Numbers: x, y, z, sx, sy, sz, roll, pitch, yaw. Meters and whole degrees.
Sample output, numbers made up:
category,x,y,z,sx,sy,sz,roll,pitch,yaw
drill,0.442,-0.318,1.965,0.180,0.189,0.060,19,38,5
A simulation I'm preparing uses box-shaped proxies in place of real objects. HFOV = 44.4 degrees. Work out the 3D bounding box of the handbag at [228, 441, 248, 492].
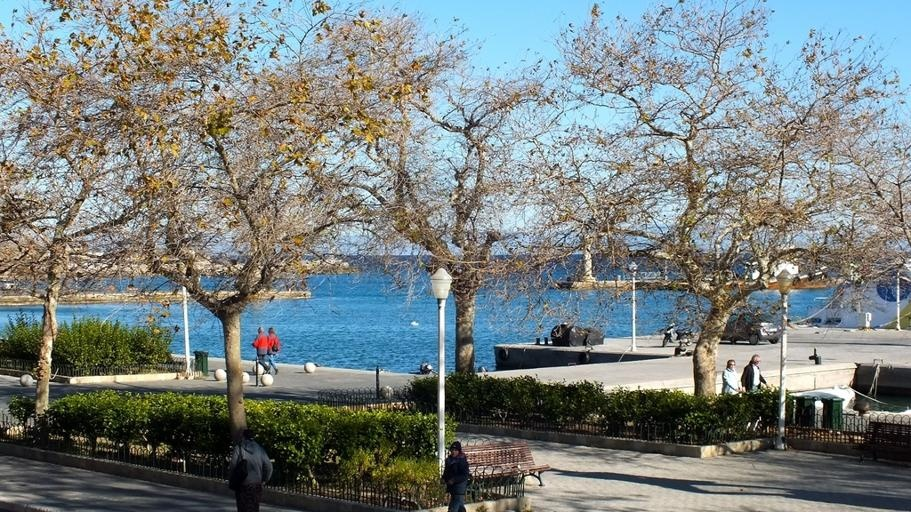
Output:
category,x,y,z,sx,sy,sz,roll,pitch,yaw
handbag,-5.257,5.117,26.922,0.494,1.125,0.154,-4,-8,28

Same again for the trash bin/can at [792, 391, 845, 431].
category,x,y,z,sx,sy,sz,roll,pitch,yaw
trash bin/can,11.877,4.984,36.016,1.580,1.191,1.553,-2,-4,34

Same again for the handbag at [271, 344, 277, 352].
category,x,y,z,sx,sy,sz,roll,pitch,yaw
handbag,-7.712,3.925,47.444,0.215,0.300,0.293,1,-7,-4

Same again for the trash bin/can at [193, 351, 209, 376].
category,x,y,z,sx,sy,sz,roll,pitch,yaw
trash bin/can,-11.040,4.691,48.416,0.551,1.018,0.903,1,-7,-9
